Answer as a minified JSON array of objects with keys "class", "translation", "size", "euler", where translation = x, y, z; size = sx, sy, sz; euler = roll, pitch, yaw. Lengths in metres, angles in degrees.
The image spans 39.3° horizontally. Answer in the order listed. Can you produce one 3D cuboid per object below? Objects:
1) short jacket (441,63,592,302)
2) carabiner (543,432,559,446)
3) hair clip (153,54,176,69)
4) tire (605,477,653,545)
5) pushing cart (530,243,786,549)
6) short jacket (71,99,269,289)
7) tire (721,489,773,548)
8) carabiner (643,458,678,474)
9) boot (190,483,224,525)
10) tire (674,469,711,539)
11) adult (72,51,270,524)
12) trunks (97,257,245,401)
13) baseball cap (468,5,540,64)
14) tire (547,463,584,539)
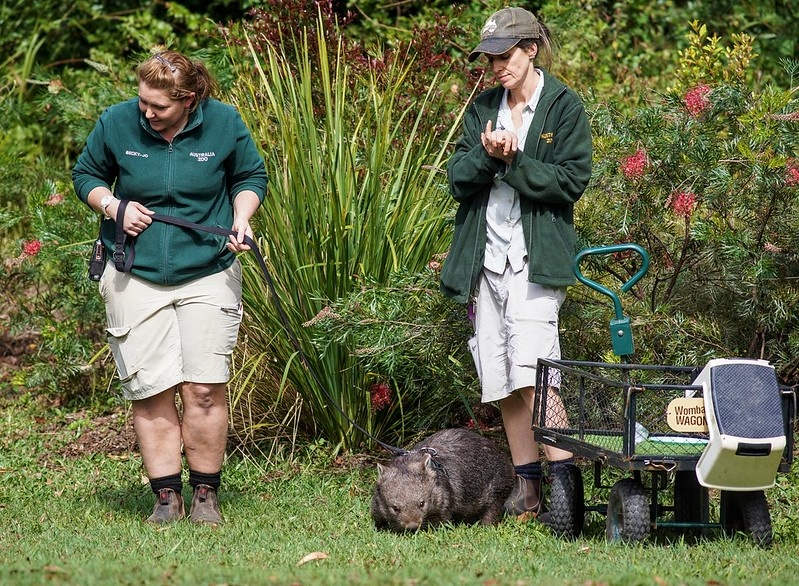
[{"class":"short jacket","translation":[0.690,-0.635,6.657],"size":[0.852,1.358,0.417],"euler":[0,2,31]},{"class":"carabiner","translation":[0.864,0.824,6.374],"size":[0.074,0.034,0.101],"euler":[11,-3,20]},{"class":"hair clip","translation":[-1.352,-1.350,6.446],"size":[0.054,0.052,0.201],"euler":[-29,48,-19]},{"class":"tire","translation":[1.267,1.216,6.184],"size":[0.098,0.271,0.289],"euler":[3,-35,-11]},{"class":"pushing cart","translation":[1.700,0.746,6.578],"size":[1.203,1.911,1.772],"euler":[2,-8,-15]},{"class":"short jacket","translation":[-1.379,-0.704,6.808],"size":[1.167,1.168,0.699],"euler":[1,13,-10]},{"class":"tire","translation":[1.889,1.234,6.127],"size":[0.118,0.353,0.343],"euler":[-1,-1,-2]},{"class":"carabiner","translation":[1.375,0.913,5.950],"size":[0.078,0.051,0.135],"euler":[0,2,-13]},{"class":"boot","translation":[-1.165,1.277,6.757],"size":[0.160,0.200,0.486],"euler":[1,-8,-10]},{"class":"tire","translation":[1.643,1.184,6.276],"size":[0.164,0.449,0.440],"euler":[0,5,15]},{"class":"adult","translation":[-1.343,-0.043,6.694],"size":[1.101,2.852,0.846],"euler":[-2,2,-15]},{"class":"trunks","translation":[-1.378,0.180,6.826],"size":[0.799,1.074,0.553],"euler":[-5,-24,-14]},{"class":"baseball cap","translation":[0.622,-1.535,6.635],"size":[0.370,0.220,0.249],"euler":[-26,21,-23]},{"class":"tire","translation":[0.978,1.237,6.607],"size":[0.179,0.557,0.542],"euler":[-1,8,14]}]
